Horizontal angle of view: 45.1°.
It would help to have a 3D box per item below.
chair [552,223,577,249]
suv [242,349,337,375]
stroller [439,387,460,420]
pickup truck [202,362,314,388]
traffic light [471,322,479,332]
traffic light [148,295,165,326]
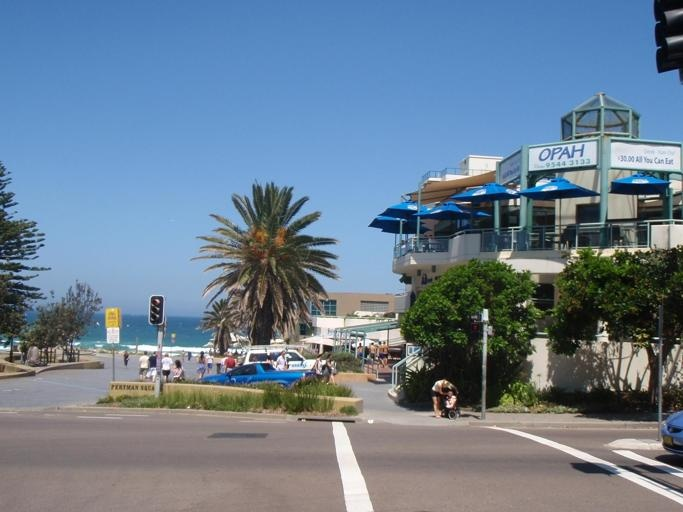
[{"bbox_3d":[9.381,-0.875,34.621,0.880,1.827,0.922,-1,-4,33],"label":"chair"},{"bbox_3d":[-2.441,5.194,38.104,3.131,1.373,1.799,-3,0,-3],"label":"suv"},{"bbox_3d":[3.852,5.358,29.514,0.535,0.708,1.133,0,-11,-4],"label":"stroller"},{"bbox_3d":[-3.358,4.822,33.180,3.337,1.223,1.656,1,-8,8],"label":"pickup truck"},{"bbox_3d":[4.700,2.469,29.247,0.242,0.379,0.374,-1,-4,35],"label":"traffic light"},{"bbox_3d":[-6.873,2.029,30.799,0.539,1.118,0.672,0,1,-15],"label":"traffic light"}]
